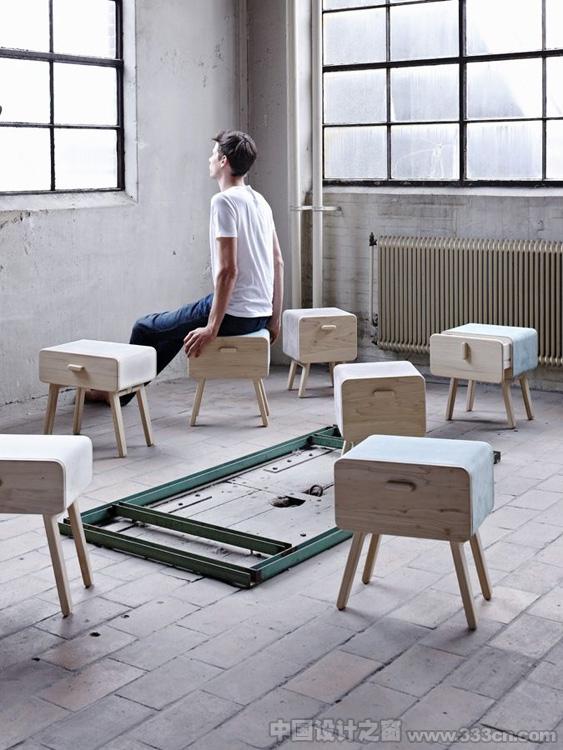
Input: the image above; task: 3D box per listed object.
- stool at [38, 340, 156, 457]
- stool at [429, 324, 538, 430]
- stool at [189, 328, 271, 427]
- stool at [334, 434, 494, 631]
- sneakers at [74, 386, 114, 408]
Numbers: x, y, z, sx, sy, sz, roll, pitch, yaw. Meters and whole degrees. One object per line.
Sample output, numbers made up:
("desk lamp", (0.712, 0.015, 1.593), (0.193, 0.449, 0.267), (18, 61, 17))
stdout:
("stool", (-0.945, 0.102, 3.794), (0.628, 0.529, 0.380), (5, 9, 29))
("stool", (1.199, -0.024, 4.143), (0.545, 0.615, 0.634), (2, 4, 33))
("stool", (-0.280, 0.070, 4.338), (0.478, 0.537, 0.782), (0, 6, 2))
("stool", (0.345, 0.408, 1.888), (0.384, 0.449, 0.331), (3, 9, 20))
("sneakers", (-1.195, 0.157, 4.672), (0.214, 0.074, 0.213), (-6, -7, 27))
